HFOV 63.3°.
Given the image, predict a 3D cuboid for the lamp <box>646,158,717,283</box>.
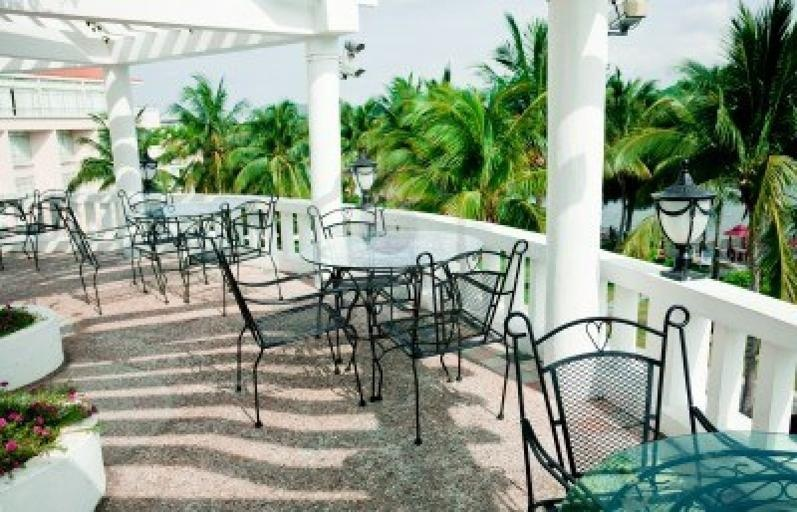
[{"bbox_3d":[2.360,-0.312,5.354,0.484,0.949,0.411,-6,13,-14],"label":"lamp"}]
